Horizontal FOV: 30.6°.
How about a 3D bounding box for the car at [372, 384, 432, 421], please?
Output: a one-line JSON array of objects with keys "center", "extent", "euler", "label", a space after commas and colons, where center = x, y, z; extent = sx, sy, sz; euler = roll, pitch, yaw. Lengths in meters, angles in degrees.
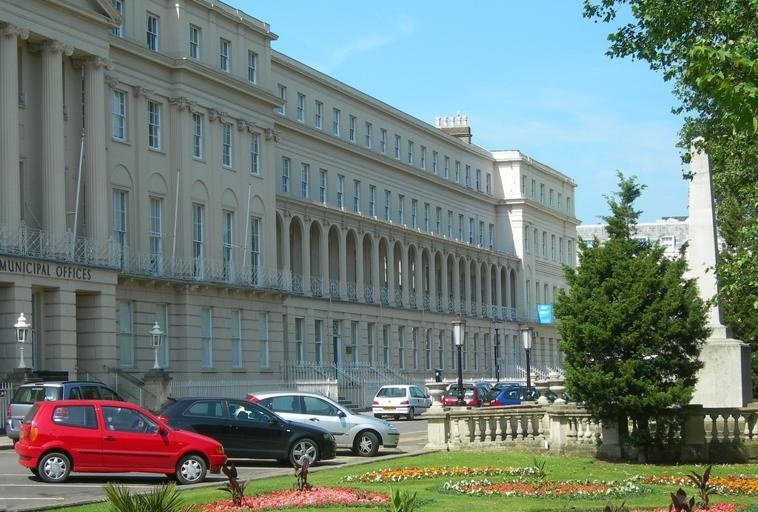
[{"center": [1.295, 7.188, 68.657], "extent": [1.626, 1.219, 2.943], "euler": [-1, -1, 19], "label": "car"}]
